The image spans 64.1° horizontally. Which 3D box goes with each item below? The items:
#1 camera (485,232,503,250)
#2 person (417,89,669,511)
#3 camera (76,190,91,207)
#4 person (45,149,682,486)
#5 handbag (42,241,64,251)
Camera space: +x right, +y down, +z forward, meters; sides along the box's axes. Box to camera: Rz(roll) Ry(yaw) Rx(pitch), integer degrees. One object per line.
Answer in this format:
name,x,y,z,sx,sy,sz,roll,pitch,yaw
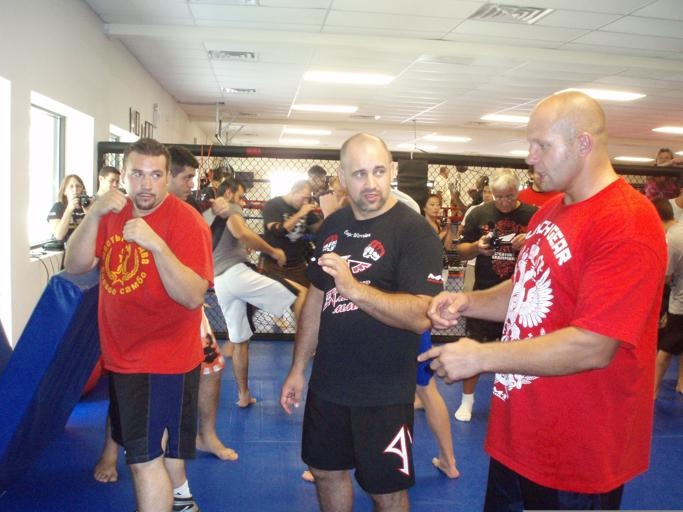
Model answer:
camera,1.198,-0.114,4.297,0.102,0.146,0.150,5,-4,3
person,0.853,0.248,2.253,0.830,1.866,0.639,3,3,28
camera,-2.467,-0.559,5.252,0.149,0.138,0.143,9,5,-10
person,0.055,0.397,3.156,2.689,1.384,0.787,1,-3,-10
handbag,-2.903,-0.109,5.480,0.162,0.112,0.197,0,3,-34
